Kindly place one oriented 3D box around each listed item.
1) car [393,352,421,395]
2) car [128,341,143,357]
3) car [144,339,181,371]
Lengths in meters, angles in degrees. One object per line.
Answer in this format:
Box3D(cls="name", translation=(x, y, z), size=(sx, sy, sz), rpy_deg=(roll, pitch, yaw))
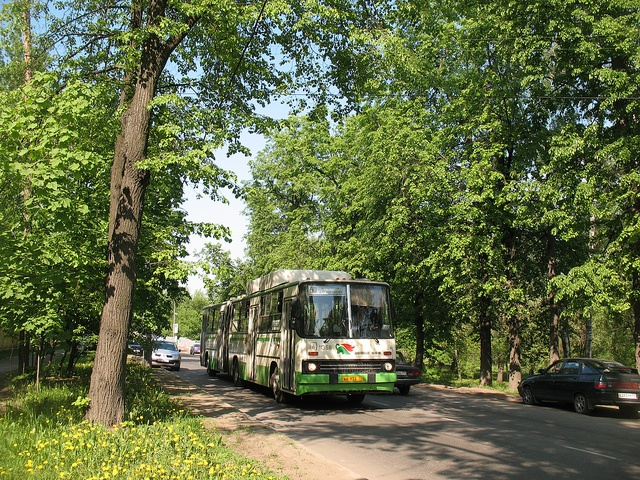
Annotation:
Box3D(cls="car", translation=(3.622, 5.659, 25.469), size=(0.884, 1.551, 1.905), rpy_deg=(-1, -14, 7))
Box3D(cls="car", translation=(-16.801, 9.926, 55.296), size=(1.027, 1.236, 3.407), rpy_deg=(5, -15, -19))
Box3D(cls="car", translation=(-9.450, 7.100, 37.490), size=(1.585, 1.837, 2.133), rpy_deg=(4, -14, -14))
